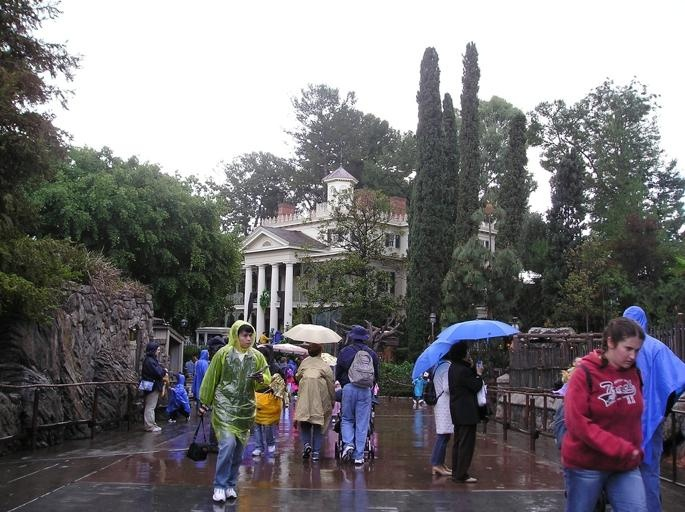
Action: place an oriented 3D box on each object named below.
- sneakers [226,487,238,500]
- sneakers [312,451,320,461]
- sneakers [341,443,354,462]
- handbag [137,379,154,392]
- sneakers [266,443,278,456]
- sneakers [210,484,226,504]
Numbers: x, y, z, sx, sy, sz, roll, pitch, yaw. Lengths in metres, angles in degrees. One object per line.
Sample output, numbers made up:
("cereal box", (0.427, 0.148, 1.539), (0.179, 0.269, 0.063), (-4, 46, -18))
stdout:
("sneakers", (-1.421, 3.009, 7.644), (0.165, 0.164, 0.384), (1, -12, -12))
("sneakers", (-0.482, 3.646, 10.963), (0.101, 0.144, 0.150), (1, -15, -7))
("sneakers", (0.100, 3.430, 10.517), (0.131, 0.163, 0.361), (10, -46, -6))
("handbag", (-5.047, 3.370, 15.699), (0.328, 0.368, 0.097), (-2, -16, 9))
("sneakers", (-1.366, 3.742, 11.599), (0.183, 0.224, 0.195), (1, 7, 3))
("sneakers", (-1.538, 2.958, 7.514), (0.183, 0.170, 0.232), (3, -8, -11))
